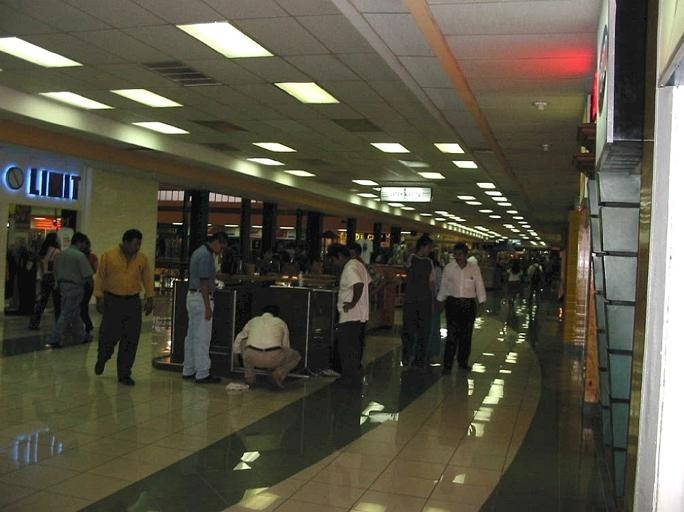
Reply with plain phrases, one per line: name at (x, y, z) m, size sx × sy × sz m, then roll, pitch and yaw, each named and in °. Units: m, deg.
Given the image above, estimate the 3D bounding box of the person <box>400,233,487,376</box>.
person at (1.440, 0.676, 7.555) m, size 1.100 × 1.777 × 0.691 m, roll 1°, pitch 0°, yaw 17°

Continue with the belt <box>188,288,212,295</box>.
belt at (-1.621, 0.401, 6.224) m, size 0.273 × 0.118 × 0.269 m, roll 1°, pitch 1°, yaw -16°

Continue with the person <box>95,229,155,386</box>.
person at (-2.501, 0.575, 6.198) m, size 0.604 × 1.821 × 0.356 m, roll 1°, pitch 0°, yaw -19°

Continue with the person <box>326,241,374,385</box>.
person at (0.080, 0.706, 6.555) m, size 0.476 × 1.657 × 0.656 m, roll 1°, pitch 0°, yaw 4°

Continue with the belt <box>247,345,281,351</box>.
belt at (-0.869, 1.019, 6.024) m, size 0.364 × 0.065 × 0.082 m, roll 1°, pitch 0°, yaw -2°

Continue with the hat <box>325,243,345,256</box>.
hat at (-0.061, -0.089, 6.408) m, size 0.197 × 0.141 × 0.350 m, roll 1°, pitch 1°, yaw -5°

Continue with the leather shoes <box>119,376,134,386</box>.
leather shoes at (-2.477, 1.432, 6.236) m, size 0.194 × 0.070 × 0.085 m, roll 1°, pitch 1°, yaw 13°

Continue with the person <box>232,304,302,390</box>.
person at (-0.891, 1.050, 6.240) m, size 0.803 × 0.943 × 0.529 m, roll 1°, pitch 0°, yaw -6°

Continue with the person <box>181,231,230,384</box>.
person at (-1.650, 0.604, 6.377) m, size 0.371 × 1.790 × 0.571 m, roll 1°, pitch 0°, yaw -33°

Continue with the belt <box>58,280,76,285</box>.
belt at (-4.055, 0.376, 7.954) m, size 0.249 × 0.073 × 0.039 m, roll 1°, pitch 0°, yaw 5°

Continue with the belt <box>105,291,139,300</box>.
belt at (-2.500, 0.432, 6.164) m, size 0.372 × 0.087 × 0.169 m, roll 0°, pitch 1°, yaw -29°

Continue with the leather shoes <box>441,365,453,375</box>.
leather shoes at (1.464, 1.566, 7.461) m, size 0.092 × 0.146 × 0.120 m, roll 27°, pitch -31°, yaw -28°
